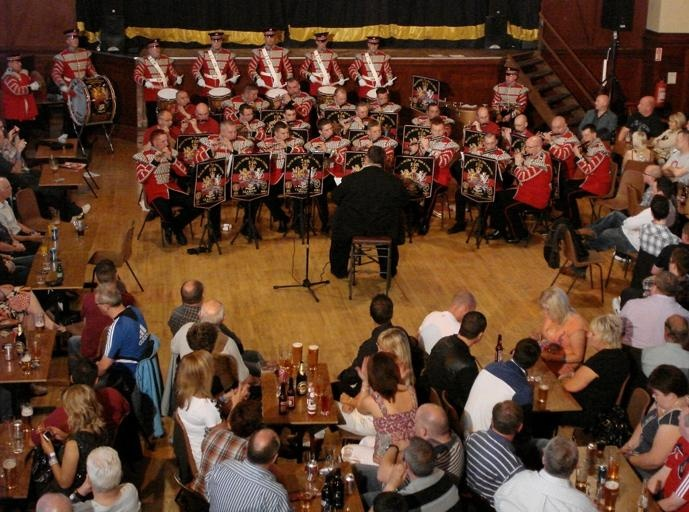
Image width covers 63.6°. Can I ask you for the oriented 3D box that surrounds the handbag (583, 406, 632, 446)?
[{"bbox_3d":[2.594,1.652,5.461,0.412,0.306,0.389,6,17,9],"label":"handbag"}]

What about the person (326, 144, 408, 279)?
[{"bbox_3d":[0.325,-0.690,9.259,1.392,2.073,1.187,1,18,-8],"label":"person"}]

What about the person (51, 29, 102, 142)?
[{"bbox_3d":[-7.131,-4.274,14.639,0.759,3.124,1.050,19,29,34],"label":"person"}]

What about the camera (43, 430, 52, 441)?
[{"bbox_3d":[-2.422,1.468,4.540,0.062,0.080,0.081,-2,4,-27],"label":"camera"}]

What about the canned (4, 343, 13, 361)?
[{"bbox_3d":[-3.343,0.947,5.537,0.077,0.157,0.122,-3,5,-36],"label":"canned"}]

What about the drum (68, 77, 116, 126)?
[{"bbox_3d":[-6.353,-3.915,13.991,0.720,1.152,1.177,-16,31,-41],"label":"drum"}]

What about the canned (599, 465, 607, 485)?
[{"bbox_3d":[2.035,1.692,4.372,0.067,0.154,0.169,2,4,25],"label":"canned"}]

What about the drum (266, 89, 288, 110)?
[{"bbox_3d":[-1.549,-3.687,12.850,0.611,0.384,0.564,0,41,0],"label":"drum"}]

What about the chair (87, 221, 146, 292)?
[{"bbox_3d":[-3.527,0.019,8.627,0.954,1.218,0.836,6,20,-10],"label":"chair"}]

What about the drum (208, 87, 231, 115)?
[{"bbox_3d":[-2.871,-3.608,13.197,0.666,0.637,0.624,-7,45,-16],"label":"drum"}]

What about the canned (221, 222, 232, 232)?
[{"bbox_3d":[-2.330,-0.583,11.003,0.193,0.092,0.249,-4,10,-16],"label":"canned"}]

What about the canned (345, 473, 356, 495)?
[{"bbox_3d":[0.045,1.760,4.294,0.106,0.151,0.093,2,27,3],"label":"canned"}]

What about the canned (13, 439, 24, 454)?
[{"bbox_3d":[-2.720,1.585,4.642,0.074,0.086,0.083,-2,4,-29],"label":"canned"}]
